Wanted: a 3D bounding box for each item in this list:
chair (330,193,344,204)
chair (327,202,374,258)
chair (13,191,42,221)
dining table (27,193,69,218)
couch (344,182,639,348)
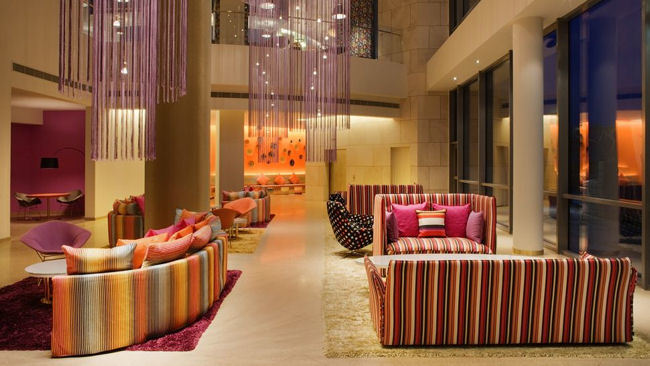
[{"bbox_3d":[0.294,0.367,11.105,0.300,0.345,0.286,1,-2,-1],"label":"chair"},{"bbox_3d":[0.468,0.893,10.109,1.122,1.302,0.972,-5,5,2],"label":"chair"},{"bbox_3d":[-9.225,0.699,14.270,0.602,0.804,0.778,-5,-5,17],"label":"chair"},{"bbox_3d":[-8.381,0.510,14.023,1.065,0.703,1.036,1,-2,-37],"label":"dining table"},{"bbox_3d":[2.462,1.547,6.830,2.759,1.076,2.954,-1,2,0],"label":"couch"}]
